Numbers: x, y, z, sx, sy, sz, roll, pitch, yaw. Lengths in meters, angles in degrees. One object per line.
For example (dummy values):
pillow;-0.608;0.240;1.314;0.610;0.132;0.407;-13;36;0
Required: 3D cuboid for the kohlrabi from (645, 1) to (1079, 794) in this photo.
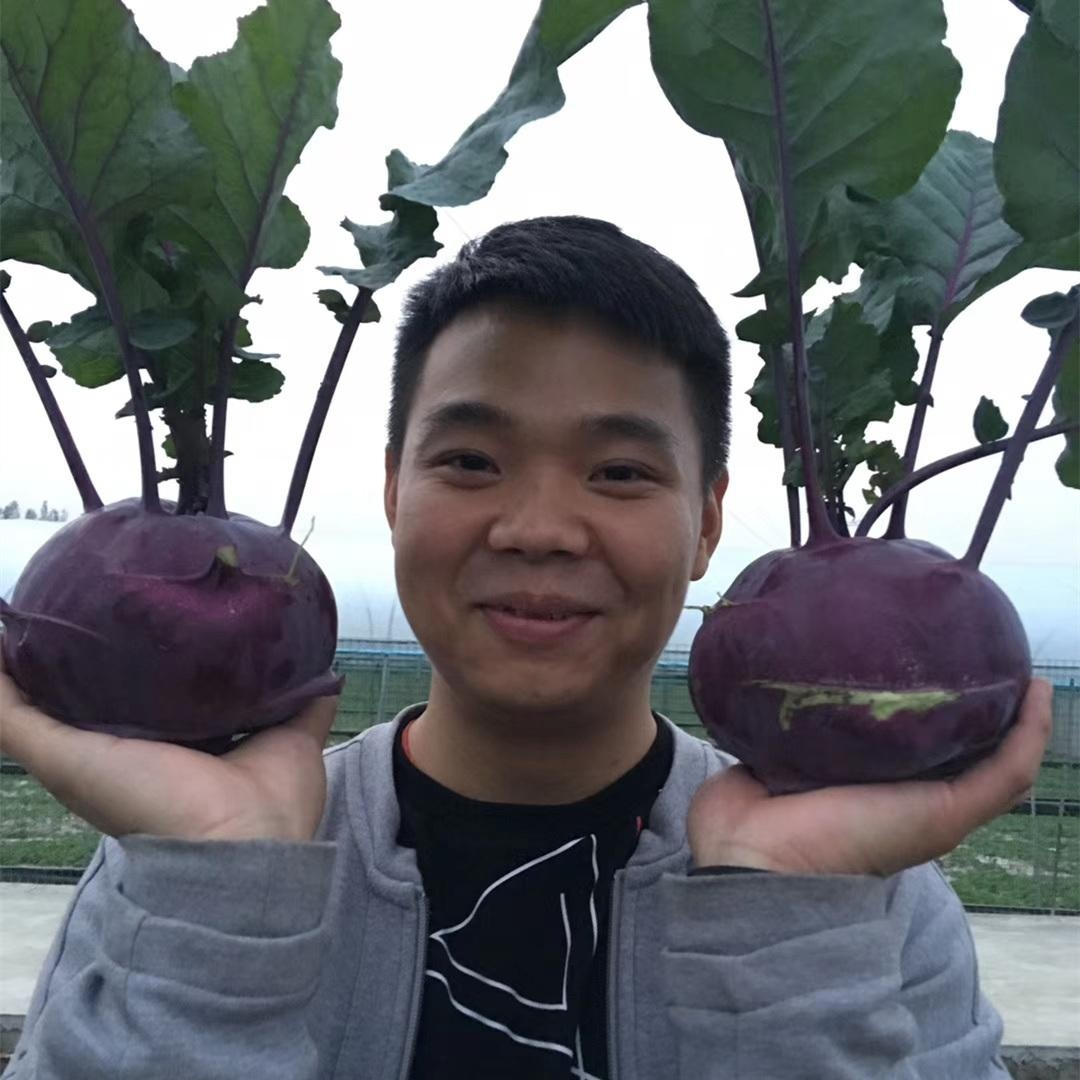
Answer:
kohlrabi;0.366;-0.145;1.054;0.407;0.631;0.195;1;1;9
